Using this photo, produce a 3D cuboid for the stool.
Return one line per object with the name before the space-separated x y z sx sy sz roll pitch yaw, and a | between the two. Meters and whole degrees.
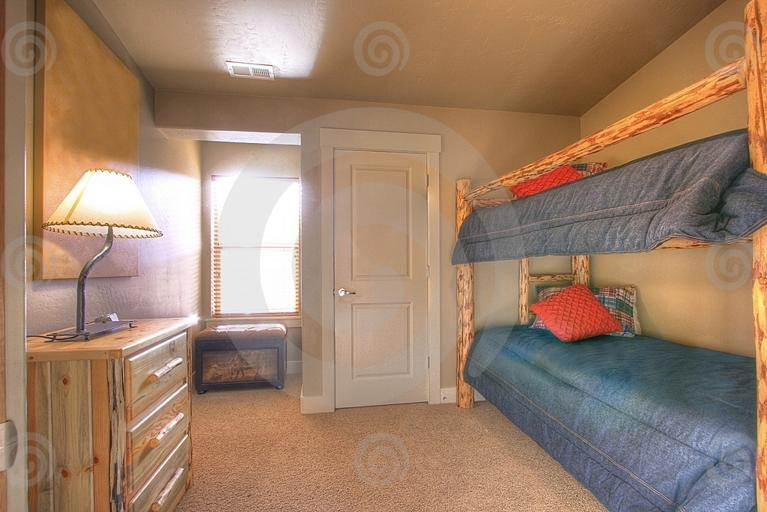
stool | -1.377 0.966 4.773 0.708 0.490 0.680 0 -2 -10
